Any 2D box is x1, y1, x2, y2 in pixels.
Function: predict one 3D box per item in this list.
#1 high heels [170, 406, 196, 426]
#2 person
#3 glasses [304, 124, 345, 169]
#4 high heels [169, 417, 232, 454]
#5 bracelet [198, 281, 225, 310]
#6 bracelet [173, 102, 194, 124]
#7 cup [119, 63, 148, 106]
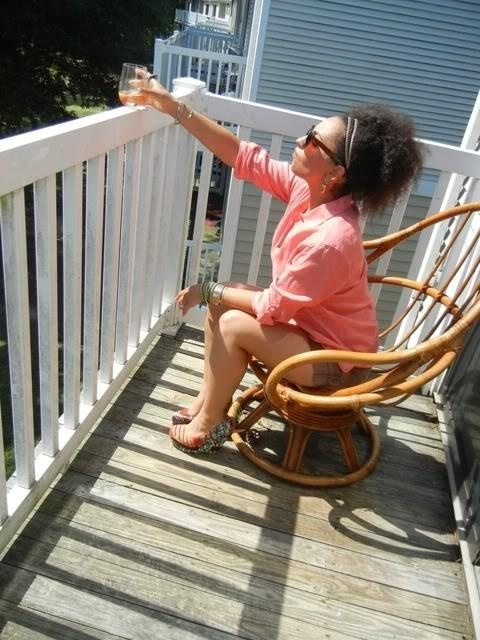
[{"bbox_3d":[-0.204,0.342,1.810,0.045,0.030,0.084,26,39,19],"label":"high heels"},{"bbox_3d":[0.061,-0.125,1.680,0.598,1.147,0.772,-18,40,-42],"label":"person"},{"bbox_3d":[0.233,-0.455,1.417,0.124,0.037,0.114,29,10,-17],"label":"glasses"},{"bbox_3d":[-0.129,0.388,1.712,0.204,0.065,0.105,-2,41,-6],"label":"high heels"},{"bbox_3d":[-0.083,-0.083,1.639,0.082,0.080,0.066,6,49,5],"label":"bracelet"},{"bbox_3d":[-0.189,-0.681,1.705,0.030,0.068,0.052,9,23,-31],"label":"bracelet"},{"bbox_3d":[-0.313,-0.689,1.515,0.080,0.105,0.176,4,27,-13],"label":"cup"}]
